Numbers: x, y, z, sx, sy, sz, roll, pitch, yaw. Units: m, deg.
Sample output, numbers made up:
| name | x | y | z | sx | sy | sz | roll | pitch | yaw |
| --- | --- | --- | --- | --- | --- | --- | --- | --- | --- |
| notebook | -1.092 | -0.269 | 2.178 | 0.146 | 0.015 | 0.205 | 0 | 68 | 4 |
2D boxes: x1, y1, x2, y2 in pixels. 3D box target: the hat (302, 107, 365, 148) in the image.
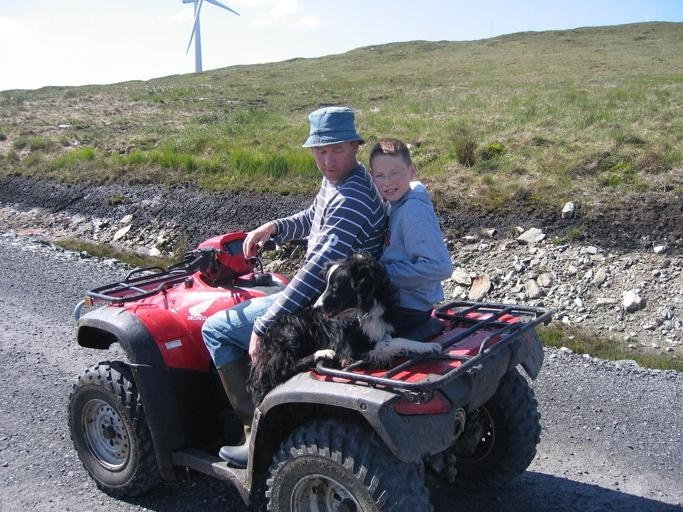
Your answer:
| name | x | y | z | sx | sy | sz | roll | pitch | yaw |
| --- | --- | --- | --- | --- | --- | --- | --- | --- | --- |
| hat | -0.076 | -1.162 | 5.707 | 0.618 | 0.345 | 0.674 | 4 | 11 | 40 |
